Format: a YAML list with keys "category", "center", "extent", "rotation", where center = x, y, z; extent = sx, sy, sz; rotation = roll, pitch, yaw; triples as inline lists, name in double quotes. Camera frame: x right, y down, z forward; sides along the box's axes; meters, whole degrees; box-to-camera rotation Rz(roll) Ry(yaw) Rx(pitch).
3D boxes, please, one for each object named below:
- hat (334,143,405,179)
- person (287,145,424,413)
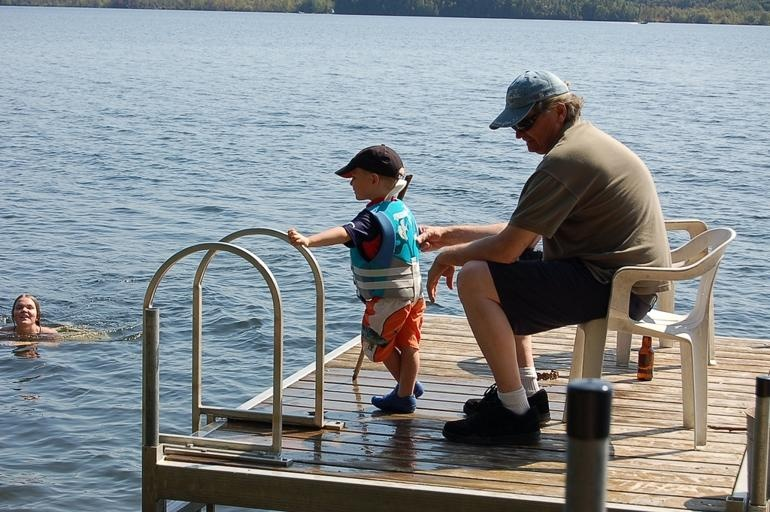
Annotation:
- category: "hat"
  center: [-0.191, -1.242, 17.726]
  extent: [0.818, 0.319, 0.427]
  rotation: [5, 2, 7]
- category: "person"
  center: [-0.167, 0.298, 17.557]
  extent: [1.321, 3.394, 0.956]
  rotation: [1, 14, 0]
